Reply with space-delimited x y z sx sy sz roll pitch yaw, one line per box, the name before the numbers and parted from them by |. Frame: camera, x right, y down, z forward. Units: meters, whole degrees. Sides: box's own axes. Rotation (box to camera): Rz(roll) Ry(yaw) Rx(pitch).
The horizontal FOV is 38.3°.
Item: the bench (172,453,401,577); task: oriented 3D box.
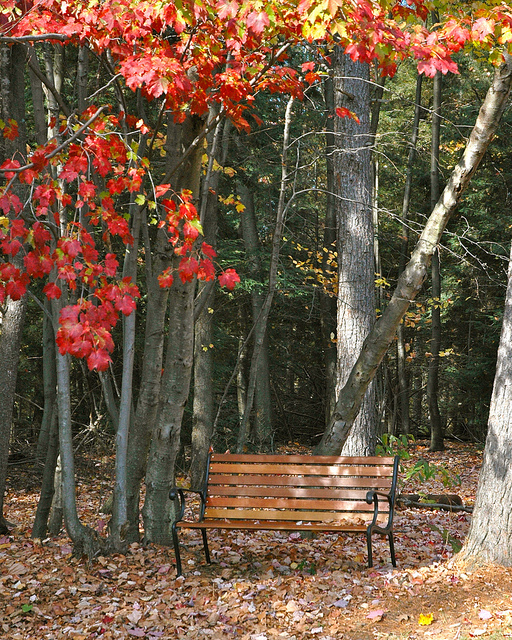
bench | 0.228 1.496 5.684 1.673 0.789 0.621 -6 -2 27
